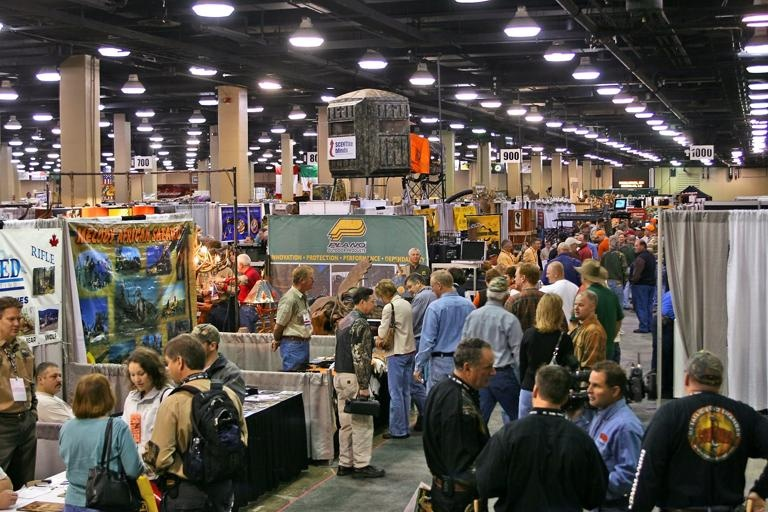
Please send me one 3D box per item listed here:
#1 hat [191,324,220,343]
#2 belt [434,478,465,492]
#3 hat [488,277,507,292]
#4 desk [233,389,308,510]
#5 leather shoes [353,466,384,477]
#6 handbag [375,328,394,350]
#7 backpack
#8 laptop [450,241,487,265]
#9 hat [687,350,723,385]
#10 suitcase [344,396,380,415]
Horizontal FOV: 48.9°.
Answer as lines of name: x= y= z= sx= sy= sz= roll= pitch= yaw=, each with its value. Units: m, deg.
hat: x=-1.745 y=0.791 z=8.334 sx=0.233 sy=0.140 sz=0.169 roll=22 pitch=10 yaw=-20
belt: x=0.580 y=2.021 z=7.442 sx=0.140 sy=0.057 sz=0.152 roll=6 pitch=-4 yaw=28
hat: x=1.345 y=0.327 z=9.927 sx=0.177 sy=0.164 sz=0.217 roll=0 pitch=1 yaw=44
desk: x=-1.285 y=2.234 z=9.921 sx=0.843 sy=1.006 sz=1.449 roll=4 pitch=8 yaw=27
leather shoes: x=-0.173 y=2.596 z=10.212 sx=0.398 sy=0.208 sz=0.147 roll=-2 pitch=0 yaw=-1
handbag: x=0.030 y=1.096 z=10.800 sx=0.166 sy=0.289 sz=0.269 roll=5 pitch=22 yaw=16
backpack: x=-1.553 y=1.594 z=7.517 sx=0.566 sy=0.885 sz=0.217 roll=-1 pitch=1 yaw=-13
laptop: x=1.736 y=-0.088 z=17.139 sx=0.605 sy=0.489 sz=0.437 roll=0 pitch=-3 yaw=26
hat: x=2.761 y=0.956 z=7.249 sx=0.206 sy=0.196 sz=0.317 roll=4 pitch=23 yaw=16
suitcase: x=-0.241 y=1.733 z=9.784 sx=0.297 sy=0.153 sz=0.215 roll=1 pitch=3 yaw=-1
